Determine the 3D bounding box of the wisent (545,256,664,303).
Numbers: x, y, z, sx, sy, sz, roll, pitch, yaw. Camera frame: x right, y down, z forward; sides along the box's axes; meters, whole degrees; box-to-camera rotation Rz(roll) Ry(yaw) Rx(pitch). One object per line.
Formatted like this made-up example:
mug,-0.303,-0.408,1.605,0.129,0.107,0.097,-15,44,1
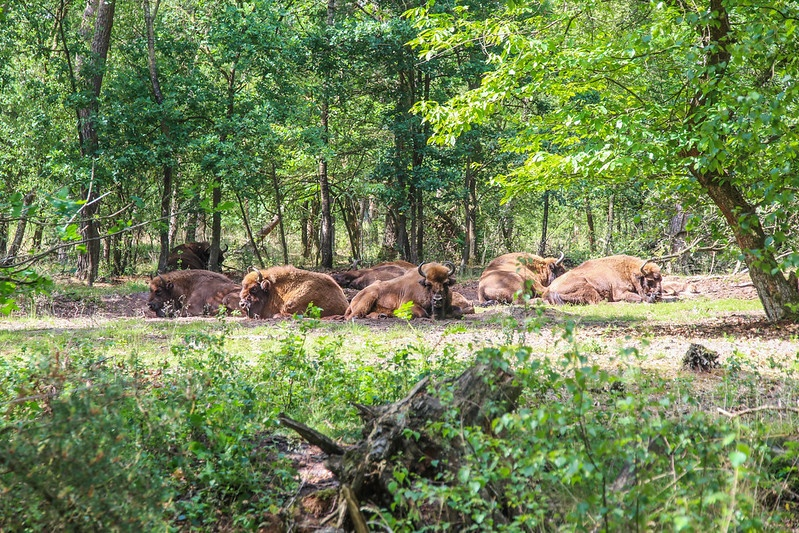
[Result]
wisent,6.207,0.471,20.995,2.940,1.228,1.612,-7,9,-7
